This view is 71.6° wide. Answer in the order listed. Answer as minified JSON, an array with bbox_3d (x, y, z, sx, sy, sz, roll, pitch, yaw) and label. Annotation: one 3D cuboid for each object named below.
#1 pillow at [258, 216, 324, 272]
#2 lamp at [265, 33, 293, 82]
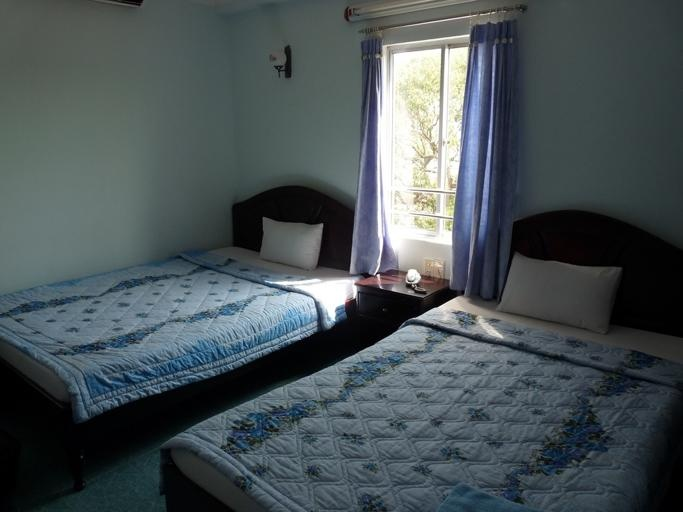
[{"bbox_3d":[-0.461,-0.115,4.340,0.694,0.413,0.251,13,19,36],"label":"pillow"},{"bbox_3d":[-0.545,-1.795,4.372,0.277,0.400,0.101,1,2,21],"label":"lamp"}]
